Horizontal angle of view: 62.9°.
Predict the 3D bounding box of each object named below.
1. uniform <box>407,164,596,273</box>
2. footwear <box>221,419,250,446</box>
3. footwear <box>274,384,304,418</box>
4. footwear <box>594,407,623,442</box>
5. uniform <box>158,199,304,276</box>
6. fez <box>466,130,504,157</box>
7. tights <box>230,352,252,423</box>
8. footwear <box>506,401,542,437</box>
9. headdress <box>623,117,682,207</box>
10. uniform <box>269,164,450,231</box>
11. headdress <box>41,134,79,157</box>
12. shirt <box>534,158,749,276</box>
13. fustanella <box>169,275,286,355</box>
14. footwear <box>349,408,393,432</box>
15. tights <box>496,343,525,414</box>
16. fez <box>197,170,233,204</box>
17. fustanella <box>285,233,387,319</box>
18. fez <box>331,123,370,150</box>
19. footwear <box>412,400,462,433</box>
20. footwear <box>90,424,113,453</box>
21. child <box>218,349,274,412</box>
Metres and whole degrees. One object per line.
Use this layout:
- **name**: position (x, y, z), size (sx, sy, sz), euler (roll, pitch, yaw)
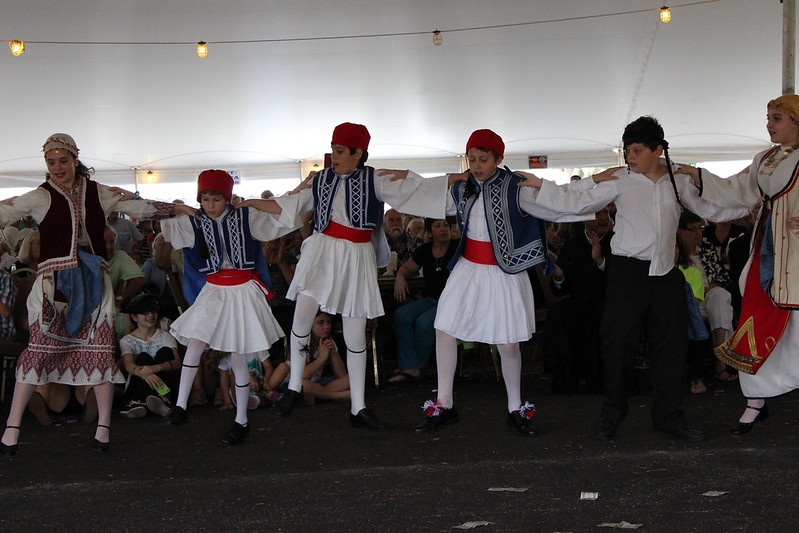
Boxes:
- **uniform**: position (0.775, -0.316, 4.999), size (1.369, 0.695, 0.486), euler (2, 9, 23)
- **footwear**: position (-1.122, 1.139, 4.502), size (0.112, 0.135, 0.234), euler (-1, 3, 22)
- **footwear**: position (-0.813, 0.976, 4.880), size (0.135, 0.135, 0.334), euler (9, 25, 24)
- **footwear**: position (1.388, 1.044, 4.306), size (0.102, 0.125, 0.300), euler (-1, 5, 28)
- **uniform**: position (-1.296, -0.216, 4.932), size (0.837, 0.400, 0.198), euler (-2, 0, -8)
- **fez**: position (0.575, -0.846, 4.486), size (0.217, 0.140, 0.211), euler (0, 6, -31)
- **tights**: position (-1.106, 0.837, 4.531), size (0.147, 0.585, 0.130), euler (2, -2, -34)
- **footwear**: position (0.852, 1.034, 4.496), size (0.139, 0.221, 0.332), euler (1, 7, -24)
- **headdress**: position (1.700, -0.708, 4.366), size (0.409, 0.610, 0.224), euler (-3, 3, -22)
- **uniform**: position (-0.187, -0.469, 4.575), size (0.851, 0.286, 0.578), euler (-10, 12, -23)
- **headdress**: position (-2.346, -0.830, 4.513), size (0.249, 0.172, 0.243), euler (-2, 14, -6)
- **shirt**: position (1.669, -0.302, 4.414), size (1.596, 0.740, 0.347), euler (4, 0, -11)
- **fustanella**: position (-1.202, 0.356, 4.577), size (0.645, 0.361, 0.546), euler (2, -1, -7)
- **footwear**: position (-0.213, 1.099, 4.711), size (0.315, 0.125, 0.123), euler (-5, -4, 37)
- **tights**: position (0.788, 0.782, 4.482), size (0.148, 0.523, 0.121), euler (17, -14, -29)
- **fez**: position (-1.353, -0.574, 4.697), size (0.221, 0.200, 0.250), euler (3, -5, 22)
- **fustanella**: position (-0.458, 0.072, 4.771), size (0.710, 0.621, 0.419), euler (17, -20, -12)
- **fez**: position (-0.342, -0.929, 4.720), size (0.258, 0.152, 0.186), euler (-5, 19, -43)
- **footwear**: position (0.262, 1.050, 4.614), size (0.147, 0.147, 0.345), euler (-3, -5, 41)
- **footwear**: position (-2.003, 1.150, 4.388), size (0.089, 0.084, 0.239), euler (4, 18, -10)
- **child**: position (-1.314, 0.979, 5.670), size (0.454, 0.445, 0.758), euler (1, 5, -7)
